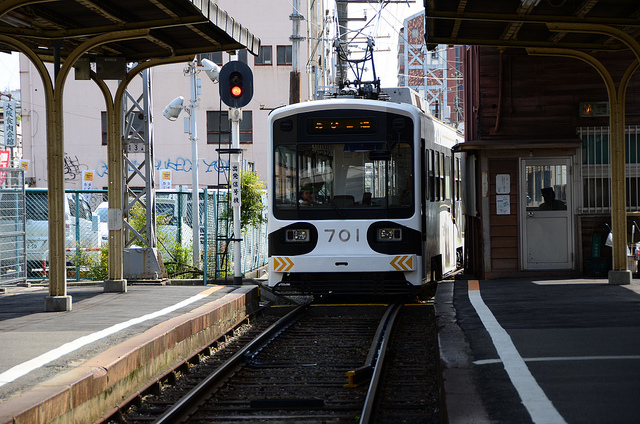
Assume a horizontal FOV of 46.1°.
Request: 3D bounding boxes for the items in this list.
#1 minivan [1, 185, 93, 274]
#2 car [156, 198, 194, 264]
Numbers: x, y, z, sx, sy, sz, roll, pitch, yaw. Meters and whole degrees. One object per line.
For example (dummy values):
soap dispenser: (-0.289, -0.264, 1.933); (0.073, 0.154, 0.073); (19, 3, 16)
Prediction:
minivan: (-6.942, 0.493, 18.910); (2.092, 2.070, 3.893); (-1, 5, 4)
car: (-4.491, 0.460, 23.350); (1.166, 1.965, 5.811); (0, 7, -12)
